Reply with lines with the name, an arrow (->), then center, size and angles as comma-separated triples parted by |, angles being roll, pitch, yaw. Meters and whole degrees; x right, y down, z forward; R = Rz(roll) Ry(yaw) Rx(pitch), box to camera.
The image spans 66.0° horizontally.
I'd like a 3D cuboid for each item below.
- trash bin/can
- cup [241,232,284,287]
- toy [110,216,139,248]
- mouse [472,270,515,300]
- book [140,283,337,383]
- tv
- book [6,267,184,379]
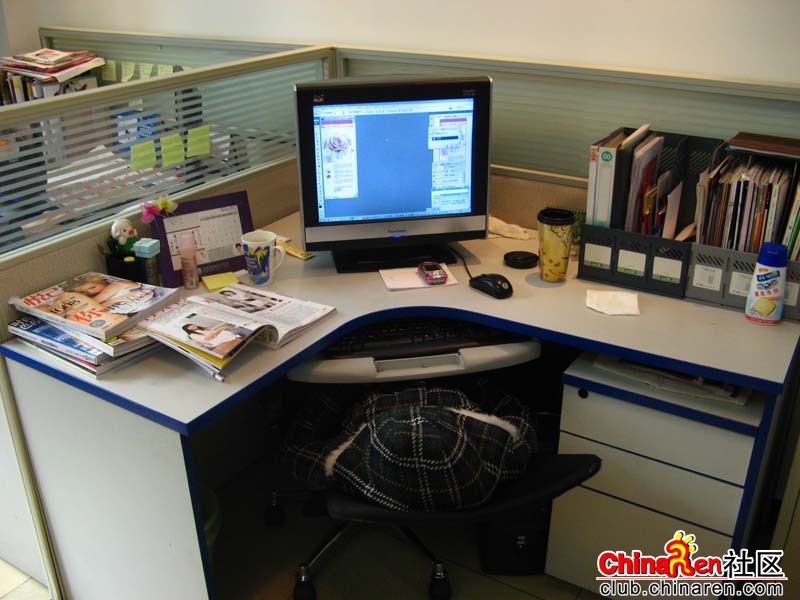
trash bin/can -> 0.405, 0.745, 2.126 | 0.233, 0.334, 0.235 | -3, 9, -32
cup -> -0.427, -0.122, 2.031 | 0.164, 0.137, 0.110 | 6, 14, 33
toy -> -0.834, -0.211, 1.907 | 0.080, 0.087, 0.041 | -27, 9, 14
mouse -> 0.298, -0.055, 1.989 | 0.121, 0.041, 0.074 | 23, 42, 38
book -> -0.502, 0.047, 1.826 | 0.407, 0.072, 0.503 | 15, 22, 24
tv -> -0.025, -0.431, 2.082 | 0.629, 0.549, 0.323 | -6, 24, -11
book -> -0.847, 0.043, 1.758 | 0.389, 0.124, 0.334 | 14, 30, 26
